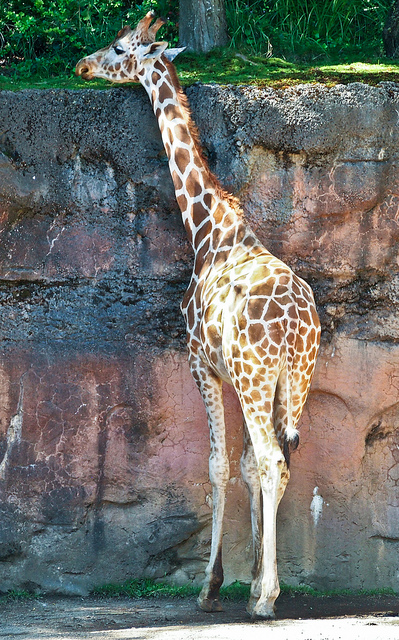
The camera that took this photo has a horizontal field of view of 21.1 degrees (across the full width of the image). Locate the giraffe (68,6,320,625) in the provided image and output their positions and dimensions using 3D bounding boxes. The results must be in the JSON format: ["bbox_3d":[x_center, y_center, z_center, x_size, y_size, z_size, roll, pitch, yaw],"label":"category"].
[{"bbox_3d":[0.166,0.020,7.269,1.129,4.106,2.418,-2,14,-12],"label":"giraffe"}]
